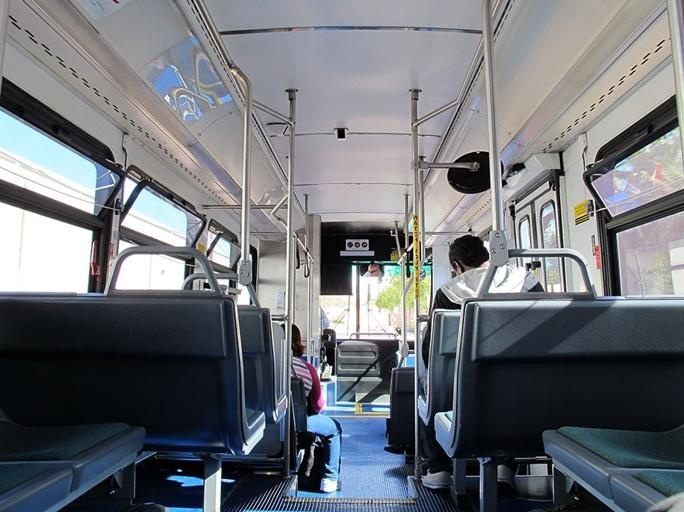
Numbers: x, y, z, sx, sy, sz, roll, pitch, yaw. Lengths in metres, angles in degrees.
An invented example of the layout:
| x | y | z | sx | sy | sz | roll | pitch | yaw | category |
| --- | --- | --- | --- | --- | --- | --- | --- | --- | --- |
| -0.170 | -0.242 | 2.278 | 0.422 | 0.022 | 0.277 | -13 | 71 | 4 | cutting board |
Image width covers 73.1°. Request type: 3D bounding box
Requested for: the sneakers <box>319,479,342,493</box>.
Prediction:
| x | y | z | sx | sy | sz | roll | pitch | yaw | category |
| --- | --- | --- | --- | --- | --- | --- | --- | --- | --- |
| -0.092 | 1.883 | 3.812 | 0.122 | 0.101 | 0.130 | -4 | -10 | 22 | sneakers |

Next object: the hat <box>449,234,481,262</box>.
| x | y | z | sx | sy | sz | roll | pitch | yaw | category |
| --- | --- | --- | --- | --- | --- | --- | --- | --- | --- |
| 0.945 | -0.061 | 3.501 | 0.174 | 0.226 | 0.218 | -1 | 4 | -11 | hat |

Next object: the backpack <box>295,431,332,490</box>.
| x | y | z | sx | sy | sz | roll | pitch | yaw | category |
| --- | --- | --- | --- | --- | --- | --- | --- | --- | --- |
| -0.285 | 1.826 | 4.165 | 0.098 | 0.413 | 0.439 | 0 | -4 | 9 | backpack |

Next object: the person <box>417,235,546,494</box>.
| x | y | z | sx | sy | sz | roll | pitch | yaw | category |
| --- | --- | --- | --- | --- | --- | --- | --- | --- | --- |
| 0.872 | 0.756 | 3.334 | 0.823 | 1.895 | 0.894 | -16 | -40 | 34 | person |
